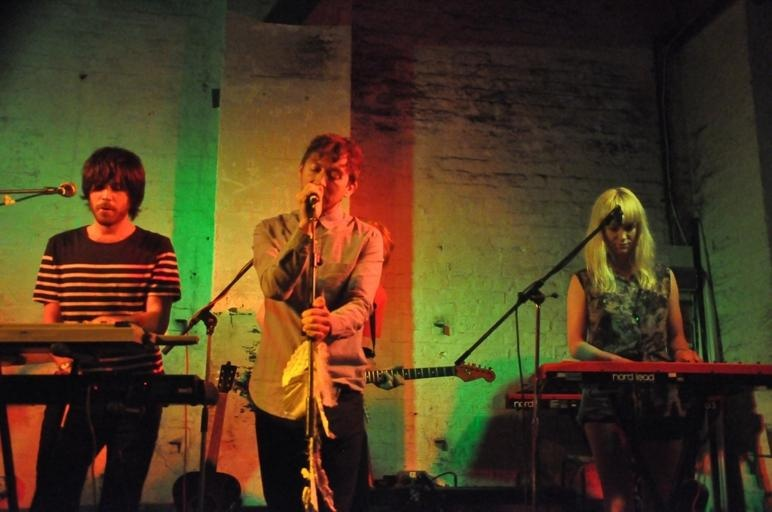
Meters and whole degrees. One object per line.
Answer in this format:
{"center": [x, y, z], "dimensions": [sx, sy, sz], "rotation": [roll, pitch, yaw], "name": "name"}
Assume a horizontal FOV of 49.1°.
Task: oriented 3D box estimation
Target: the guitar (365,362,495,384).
{"center": [0.300, 0.901, 6.504], "dimensions": [1.414, 0.159, 0.224], "rotation": [-2, -5, 0], "name": "guitar"}

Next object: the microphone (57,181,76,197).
{"center": [-2.223, -0.472, 5.901], "dimensions": [0.101, 0.146, 0.223], "rotation": [4, -13, -18], "name": "microphone"}
